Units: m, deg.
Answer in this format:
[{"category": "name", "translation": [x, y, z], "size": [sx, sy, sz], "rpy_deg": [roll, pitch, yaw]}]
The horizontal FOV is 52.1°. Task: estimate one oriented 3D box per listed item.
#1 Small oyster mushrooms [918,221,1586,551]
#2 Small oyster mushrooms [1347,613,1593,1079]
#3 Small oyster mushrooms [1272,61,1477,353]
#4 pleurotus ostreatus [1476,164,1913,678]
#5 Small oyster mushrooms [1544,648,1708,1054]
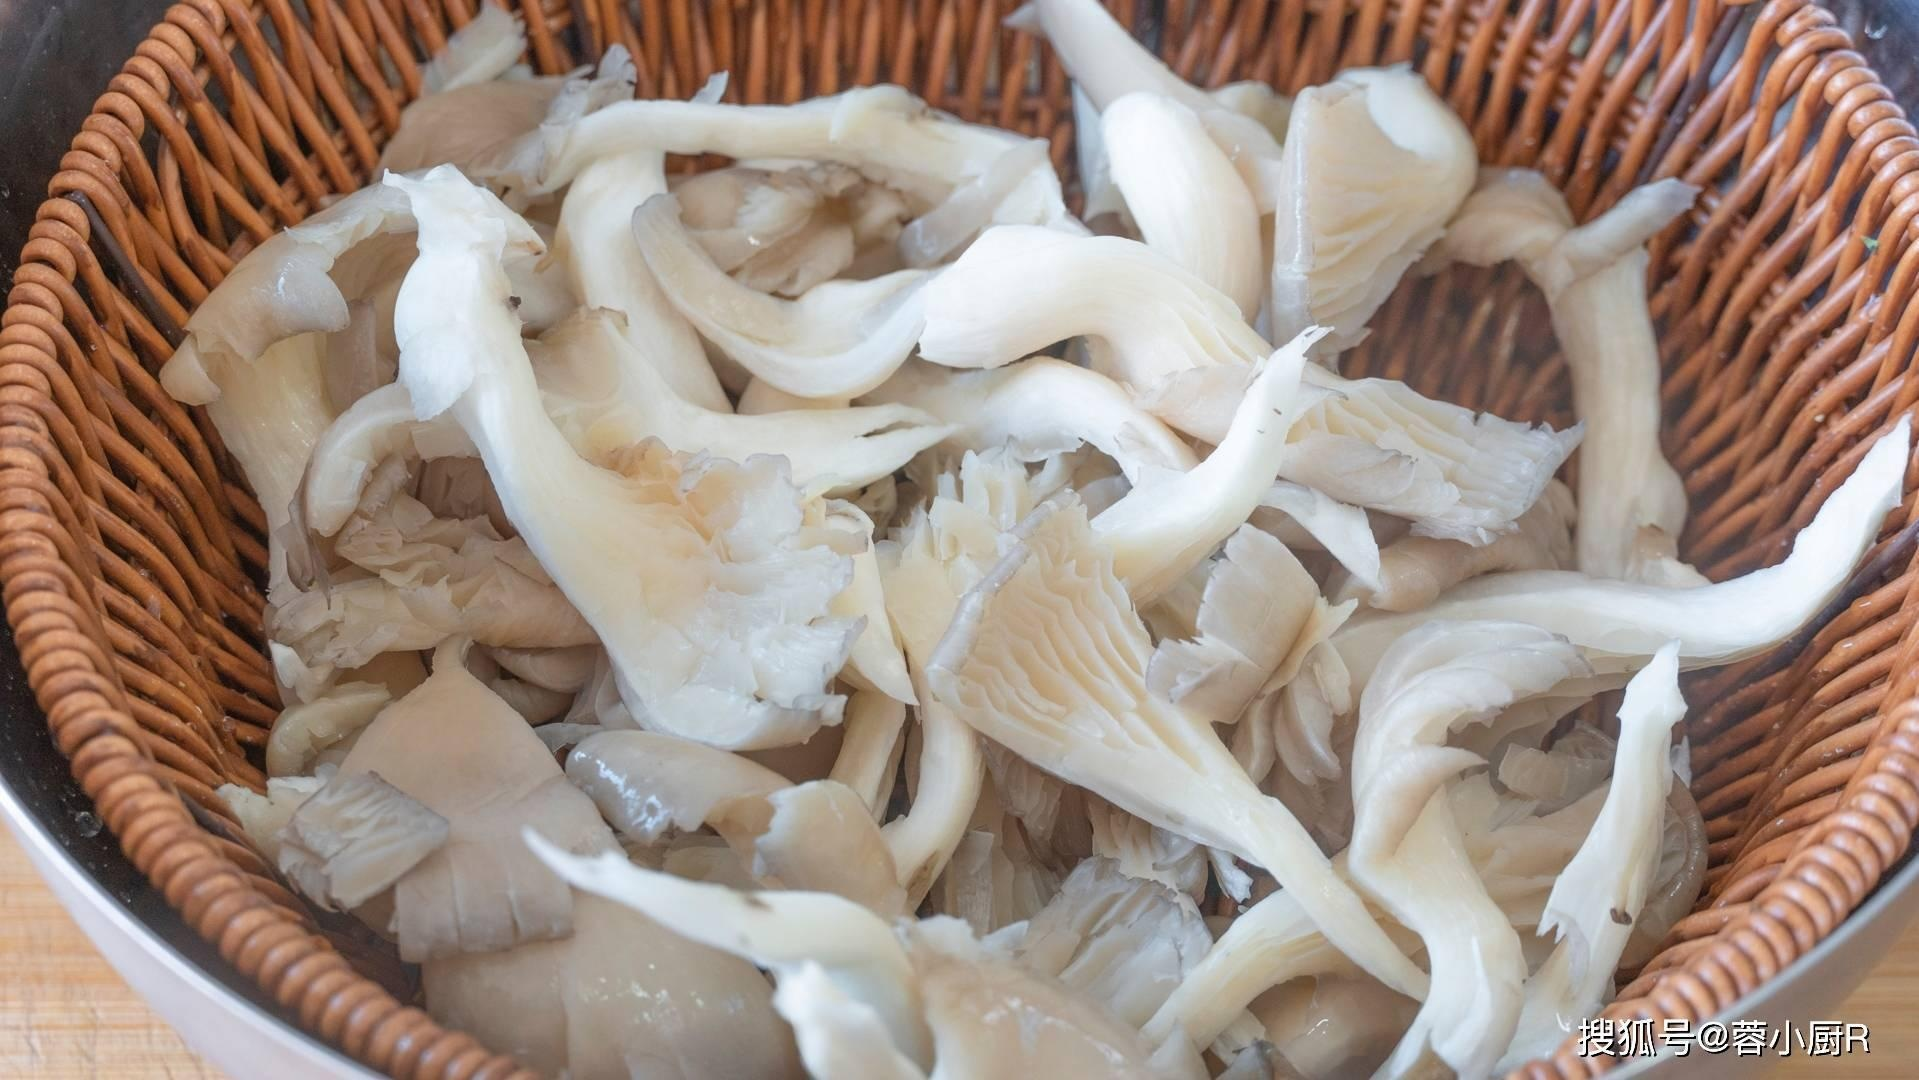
[{"category": "Small oyster mushrooms", "translation": [0.184, -0.116, 1.698], "size": [0.420, 0.167, 0.135], "rpy_deg": [-11, 77, -53]}, {"category": "Small oyster mushrooms", "translation": [0.363, 0.226, 1.441], "size": [0.178, 0.090, 0.343], "rpy_deg": [-2, 77, 2]}, {"category": "Small oyster mushrooms", "translation": [0.329, -0.288, 1.707], "size": [0.144, 0.101, 0.261], "rpy_deg": [15, 98, -28]}, {"category": "pleurotus ostreatus", "translation": [0.629, -0.085, 1.730], "size": [0.316, 0.150, 0.399], "rpy_deg": [-2, 85, 22]}, {"category": "Small oyster mushrooms", "translation": [0.495, 0.226, 1.521], "size": [0.078, 0.050, 0.364], "rpy_deg": [24, 75, -22]}]
